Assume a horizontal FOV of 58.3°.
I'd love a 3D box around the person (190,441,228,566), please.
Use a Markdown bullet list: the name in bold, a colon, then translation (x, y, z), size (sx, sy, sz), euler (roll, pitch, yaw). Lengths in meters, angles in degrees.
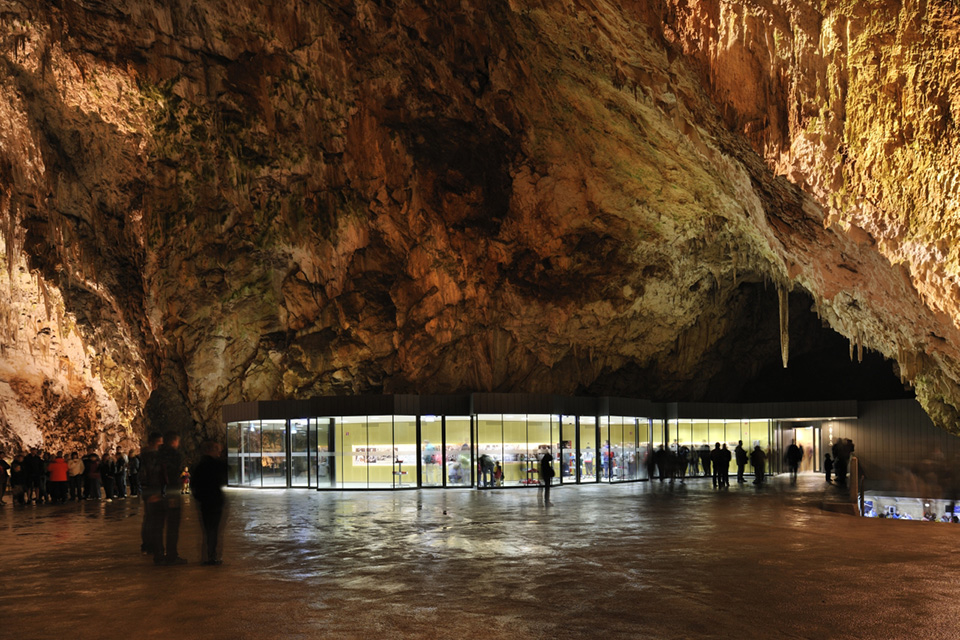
- **person**: translation (-6.032, 4.014, 19.190), size (0.727, 2.673, 1.355), euler (2, -8, -17)
